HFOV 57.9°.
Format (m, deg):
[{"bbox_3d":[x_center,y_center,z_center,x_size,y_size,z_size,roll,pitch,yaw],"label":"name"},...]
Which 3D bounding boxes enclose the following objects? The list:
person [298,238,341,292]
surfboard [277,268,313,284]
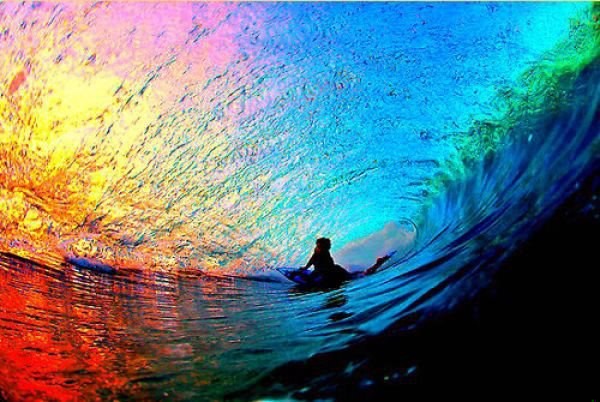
[{"bbox_3d":[0.377,1.052,8.430,0.734,1.029,0.469,-4,-46,12],"label":"person"},{"bbox_3d":[-0.015,1.116,8.176,0.432,0.071,0.760,-5,11,-30],"label":"surfboard"}]
